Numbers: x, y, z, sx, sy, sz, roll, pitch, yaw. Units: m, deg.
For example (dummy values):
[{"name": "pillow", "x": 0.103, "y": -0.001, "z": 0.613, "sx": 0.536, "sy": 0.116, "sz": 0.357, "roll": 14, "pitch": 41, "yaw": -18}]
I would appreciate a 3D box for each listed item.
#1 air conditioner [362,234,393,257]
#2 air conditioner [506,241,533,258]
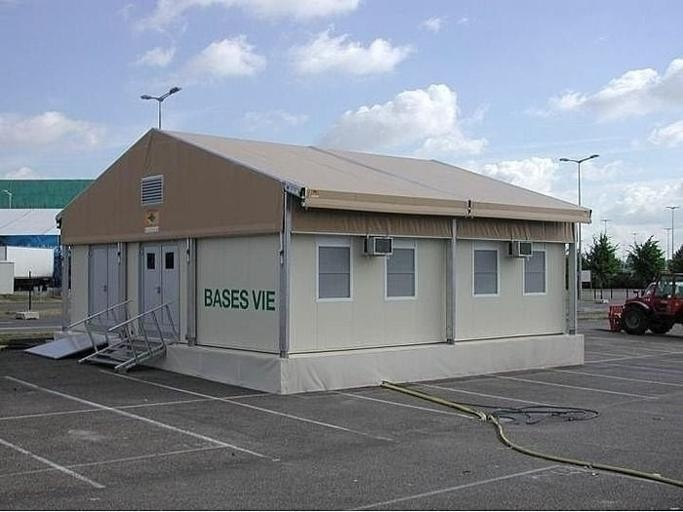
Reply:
[{"name": "air conditioner", "x": 0.861, "y": -0.261, "z": 14.309, "sx": 0.701, "sy": 0.431, "sz": 0.535, "roll": -2, "pitch": -1, "yaw": -25}, {"name": "air conditioner", "x": 4.890, "y": -0.175, "z": 16.788, "sx": 0.457, "sy": 0.390, "sz": 0.478, "roll": -1, "pitch": 1, "yaw": -20}]
